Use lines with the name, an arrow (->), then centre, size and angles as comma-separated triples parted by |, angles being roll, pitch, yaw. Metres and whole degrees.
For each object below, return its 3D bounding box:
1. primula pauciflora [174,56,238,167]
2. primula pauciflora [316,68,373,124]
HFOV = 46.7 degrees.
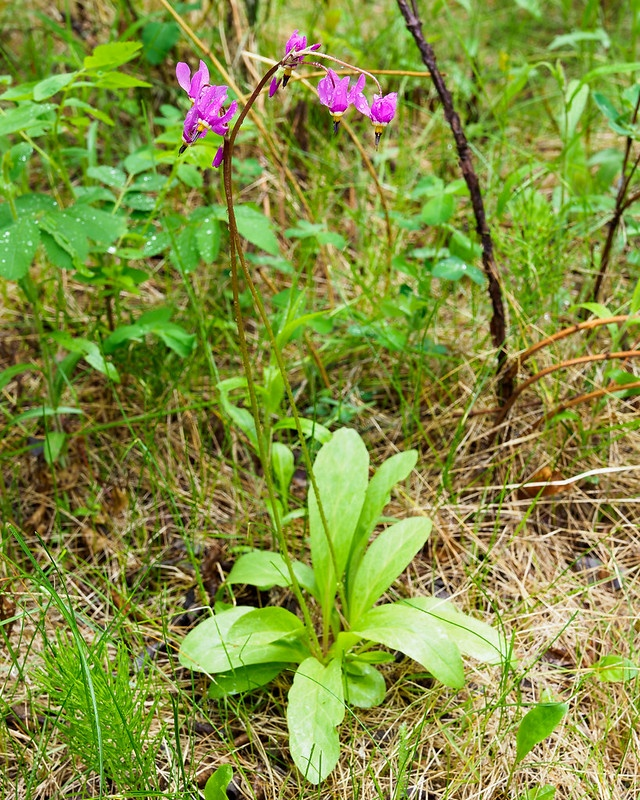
primula pauciflora -> -0.211, -0.531, 1.372 | 0.105, 0.172, 0.129 | 2, 30, -11
primula pauciflora -> 0.061, -0.623, 1.532 | 0.103, 0.123, 0.107 | -10, 40, -17
